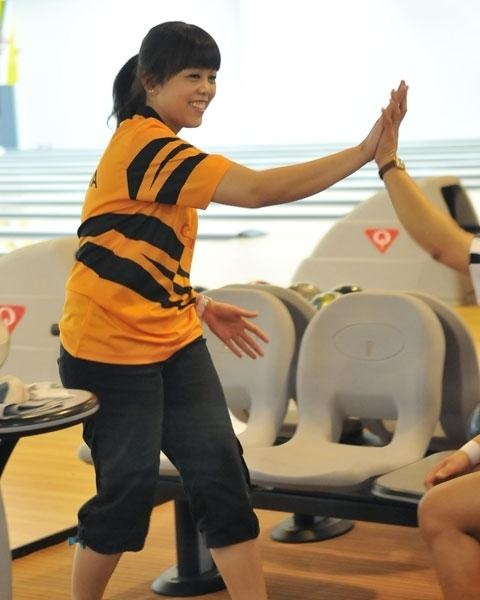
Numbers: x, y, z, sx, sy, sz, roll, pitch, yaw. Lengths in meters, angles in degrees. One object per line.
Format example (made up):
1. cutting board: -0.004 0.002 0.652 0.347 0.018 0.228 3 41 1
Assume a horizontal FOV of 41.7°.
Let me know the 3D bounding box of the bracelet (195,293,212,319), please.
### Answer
1. bracelet: -0.076 0.008 1.200 0.025 0.037 0.032 10 -12 -20

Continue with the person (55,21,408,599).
1. person: -0.070 0.021 1.010 0.459 0.926 0.326 -7 6 -23

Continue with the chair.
1. chair: 0.177 0.295 1.645 0.963 0.648 0.812 -3 -7 19
